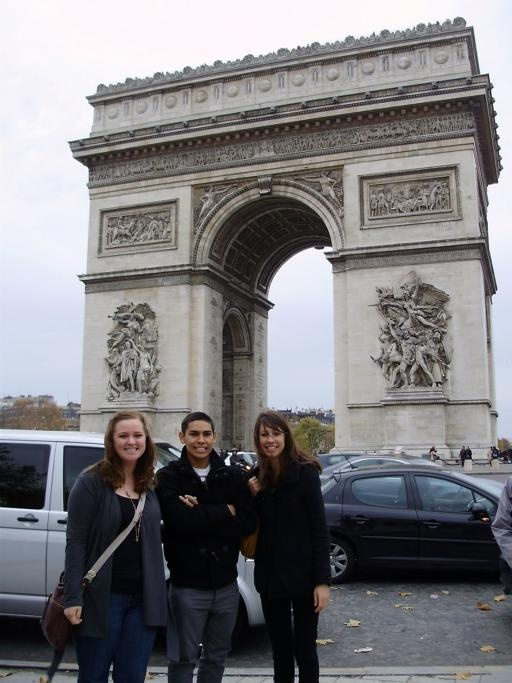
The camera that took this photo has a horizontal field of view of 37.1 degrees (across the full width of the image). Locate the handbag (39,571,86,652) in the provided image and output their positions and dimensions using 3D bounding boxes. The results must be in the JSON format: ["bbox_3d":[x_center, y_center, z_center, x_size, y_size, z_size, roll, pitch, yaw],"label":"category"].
[{"bbox_3d":[-0.967,1.345,3.860,0.208,0.368,0.312,14,-12,-20],"label":"handbag"}]

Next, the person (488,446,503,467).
[{"bbox_3d":[7.717,3.779,24.794,0.239,0.697,1.860,-5,-9,21],"label":"person"}]

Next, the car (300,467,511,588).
[{"bbox_3d":[1.862,2.367,9.767,2.414,0.929,1.456,-4,-4,7],"label":"car"}]
